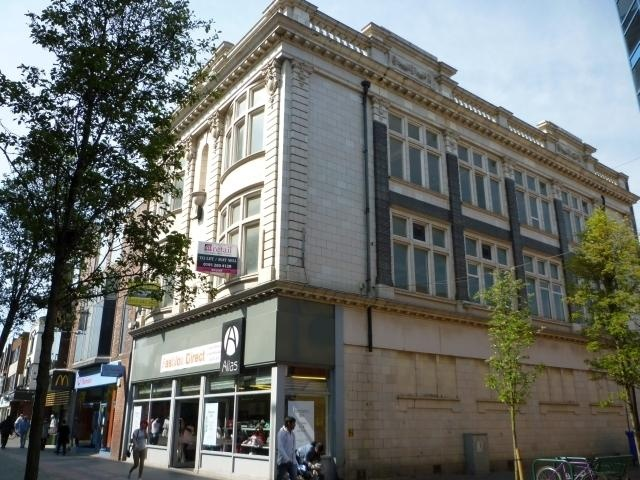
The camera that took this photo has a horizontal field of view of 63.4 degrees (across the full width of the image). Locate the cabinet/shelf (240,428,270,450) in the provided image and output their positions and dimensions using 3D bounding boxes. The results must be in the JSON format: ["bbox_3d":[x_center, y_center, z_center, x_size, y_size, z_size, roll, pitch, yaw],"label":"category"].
[{"bbox_3d":[-2.407,7.458,19.492,0.222,0.688,1.553,18,-29,-34],"label":"cabinet/shelf"}]
